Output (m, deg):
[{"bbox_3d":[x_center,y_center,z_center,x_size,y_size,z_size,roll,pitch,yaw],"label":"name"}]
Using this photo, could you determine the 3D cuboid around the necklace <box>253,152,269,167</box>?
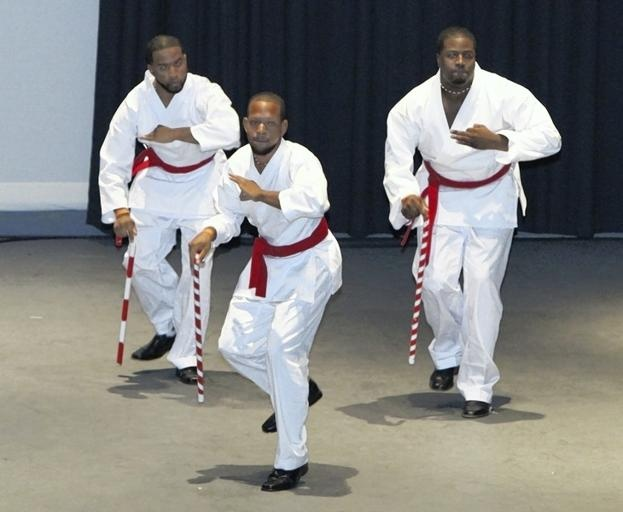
[{"bbox_3d":[-0.194,-0.371,3.715,0.057,0.046,0.049,14,19,30],"label":"necklace"}]

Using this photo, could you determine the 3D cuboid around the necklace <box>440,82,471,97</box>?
[{"bbox_3d":[0.636,-0.734,4.252,0.090,0.019,0.087,1,-16,0],"label":"necklace"}]

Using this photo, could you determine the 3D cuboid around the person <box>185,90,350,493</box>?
[{"bbox_3d":[-0.180,0.092,3.640,0.561,1.382,0.768,1,16,4],"label":"person"}]

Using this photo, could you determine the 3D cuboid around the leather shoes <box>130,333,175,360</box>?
[{"bbox_3d":[-0.772,0.442,4.890,0.277,0.096,0.098,-10,20,-36],"label":"leather shoes"}]

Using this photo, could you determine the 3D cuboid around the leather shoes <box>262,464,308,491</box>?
[{"bbox_3d":[-0.104,0.805,3.523,0.179,0.067,0.068,-2,1,-40],"label":"leather shoes"}]

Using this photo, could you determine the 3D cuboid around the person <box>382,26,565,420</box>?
[{"bbox_3d":[0.637,-0.095,4.295,0.753,1.479,0.698,7,17,22],"label":"person"}]

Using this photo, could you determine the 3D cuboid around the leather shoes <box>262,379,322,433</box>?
[{"bbox_3d":[-0.077,0.635,4.014,0.071,0.242,0.187,51,-4,14],"label":"leather shoes"}]
